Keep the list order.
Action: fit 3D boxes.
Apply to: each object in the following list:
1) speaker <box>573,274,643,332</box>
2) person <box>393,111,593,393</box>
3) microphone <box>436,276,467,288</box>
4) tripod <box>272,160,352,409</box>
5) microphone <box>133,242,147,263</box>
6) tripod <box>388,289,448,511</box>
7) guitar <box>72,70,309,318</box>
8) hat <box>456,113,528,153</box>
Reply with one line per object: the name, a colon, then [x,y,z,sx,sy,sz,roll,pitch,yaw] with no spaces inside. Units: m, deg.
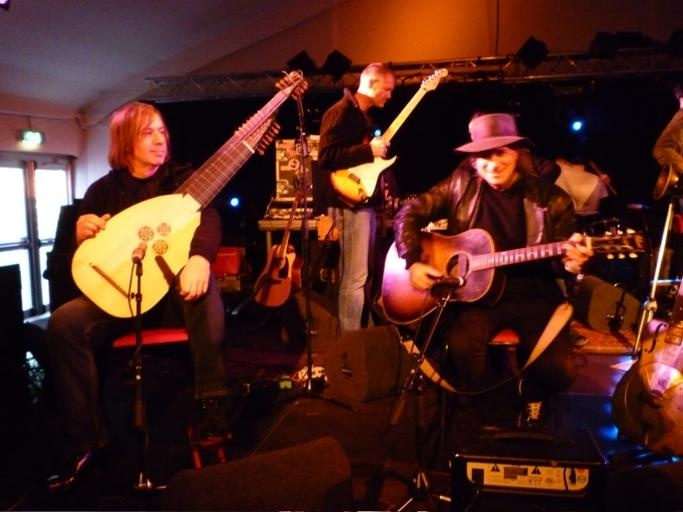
speaker: [2.573,0.457,5.997,0.365,0.391,0.534,-4,10,-5]
person: [1.089,-0.055,4.295,1.343,1.828,0.351,-3,-5,33]
microphone: [0.719,0.172,4.036,0.098,0.041,0.135,0,0,43]
tripod: [-0.313,0.235,5.923,0.708,1.941,0.273,-1,3,31]
microphone: [-1.249,-0.020,3.900,0.066,0.034,0.127,6,47,9]
tripod: [0.506,0.892,3.946,0.277,1.314,0.695,2,5,14]
guitar: [-0.911,-0.419,4.455,0.671,2.131,0.251,36,-19,12]
hat: [1.021,-0.838,4.317,0.326,0.173,0.311,-14,7,26]
